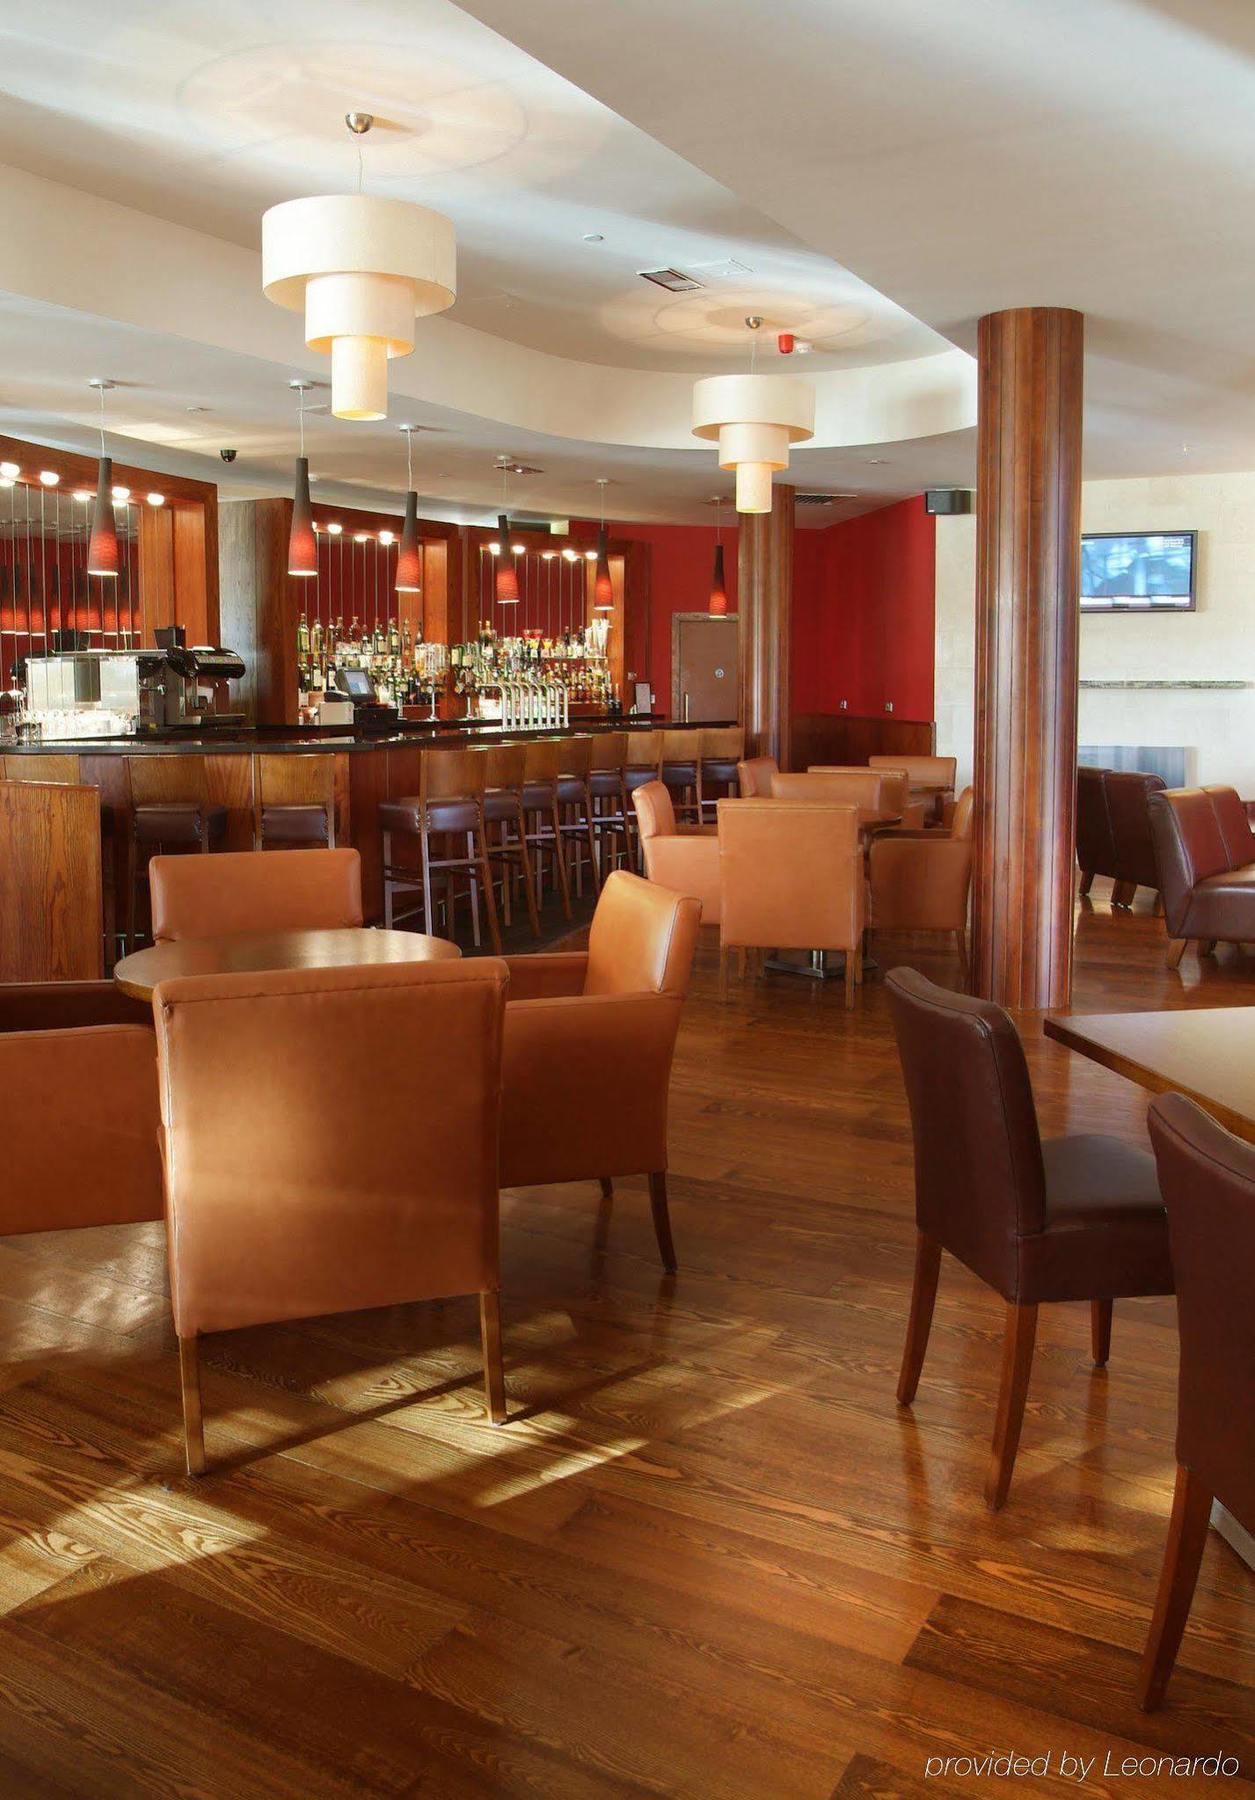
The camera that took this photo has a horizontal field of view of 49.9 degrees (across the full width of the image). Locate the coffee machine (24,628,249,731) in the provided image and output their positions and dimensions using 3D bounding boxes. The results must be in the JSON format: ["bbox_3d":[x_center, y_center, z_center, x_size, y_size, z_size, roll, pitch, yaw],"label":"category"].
[{"bbox_3d":[-2.849,-1.187,7.666,0.855,0.441,0.909,0,3,-2],"label":"coffee machine"}]

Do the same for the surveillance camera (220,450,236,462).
[{"bbox_3d":[-3.055,-3.420,10.365,0.114,0.081,0.116,4,7,12],"label":"surveillance camera"}]

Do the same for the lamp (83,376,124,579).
[{"bbox_3d":[-2.902,-2.337,7.496,0.255,1.011,0.249,-5,18,-34],"label":"lamp"}]

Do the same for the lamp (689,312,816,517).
[{"bbox_3d":[0.692,-2.532,7.471,0.634,0.697,0.444,0,3,1],"label":"lamp"}]

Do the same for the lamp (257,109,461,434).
[{"bbox_3d":[-0.883,-2.125,4.475,0.645,0.984,0.579,-6,10,-39],"label":"lamp"}]

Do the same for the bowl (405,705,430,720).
[{"bbox_3d":[-1.848,-1.692,12.041,0.181,0.113,0.186,-1,5,0],"label":"bowl"}]

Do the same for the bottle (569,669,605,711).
[{"bbox_3d":[-0.429,-2.282,14.914,0.403,0.552,0.184,5,-33,-1],"label":"bottle"}]
